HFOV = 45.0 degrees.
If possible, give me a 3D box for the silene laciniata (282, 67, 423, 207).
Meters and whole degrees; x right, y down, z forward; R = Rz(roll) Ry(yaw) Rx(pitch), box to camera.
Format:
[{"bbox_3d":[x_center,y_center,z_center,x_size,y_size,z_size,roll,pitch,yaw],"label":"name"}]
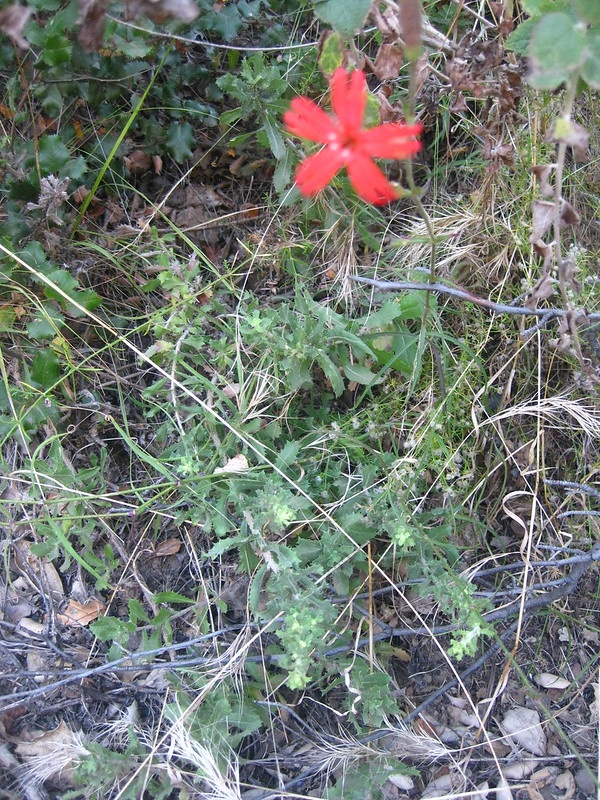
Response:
[{"bbox_3d":[0.056,-0.435,1.157,0.187,0.191,0.064,-12,68,-27],"label":"silene laciniata"}]
